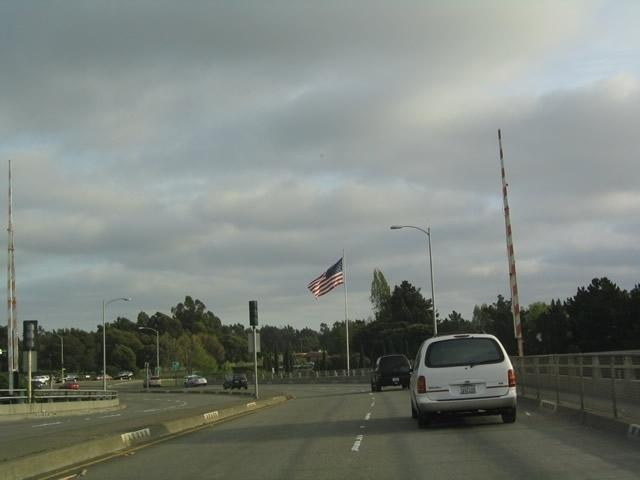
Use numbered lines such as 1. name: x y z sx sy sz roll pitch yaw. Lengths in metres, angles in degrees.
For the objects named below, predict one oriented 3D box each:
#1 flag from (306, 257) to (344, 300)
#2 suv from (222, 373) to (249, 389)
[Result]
1. flag: 0.686 3.373 64.667 1.389 3.445 3.613 -11 -15 35
2. suv: -8.033 13.266 69.165 1.248 1.125 2.233 2 -5 -15
